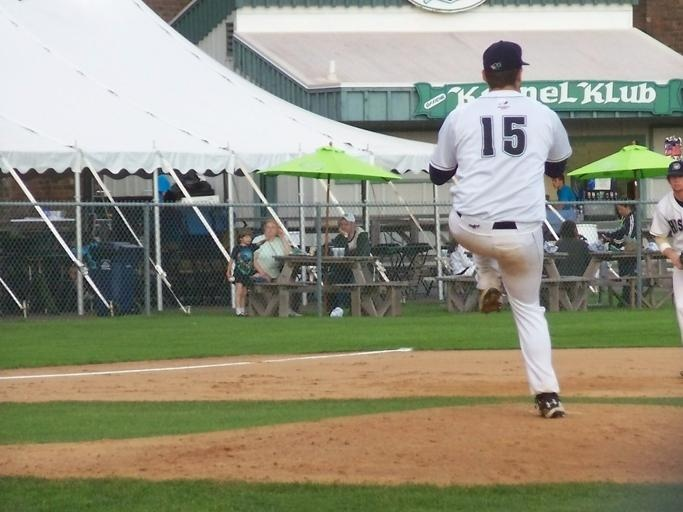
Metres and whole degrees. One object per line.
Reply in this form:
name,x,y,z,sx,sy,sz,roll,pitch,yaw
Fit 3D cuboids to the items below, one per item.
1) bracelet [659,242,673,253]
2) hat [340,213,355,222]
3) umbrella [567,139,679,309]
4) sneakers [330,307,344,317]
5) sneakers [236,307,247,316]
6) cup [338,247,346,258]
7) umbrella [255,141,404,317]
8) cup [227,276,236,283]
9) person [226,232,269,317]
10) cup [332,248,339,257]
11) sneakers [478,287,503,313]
bracelet,5.163,-0.142,28.263,0.149,0.118,0.152,-1,-5,-12
hat,0.151,-0.747,34.601,0.170,0.169,0.217,-1,4,-5
umbrella,5.267,-0.851,36.779,2.649,3.062,2.791,0,-1,24
sneakers,-0.075,1.050,33.836,0.177,0.177,0.177,-28,34,-17
sneakers,-1.926,1.032,34.138,0.118,0.111,0.172,1,-8,-10
cup,0.012,-0.095,34.228,0.130,0.146,0.136,0,-4,0
umbrella,-0.326,-0.615,35.144,2.770,3.186,2.833,0,-1,37
cup,-2.090,0.422,33.983,0.091,0.165,0.156,-2,2,-33
person,-1.832,0.279,34.092,0.691,1.455,0.627,-3,-1,-13
cup,-0.100,-0.086,34.271,0.142,0.113,0.116,0,-2,9
sneakers,2.237,0.640,26.604,0.273,0.376,0.191,10,13,4
